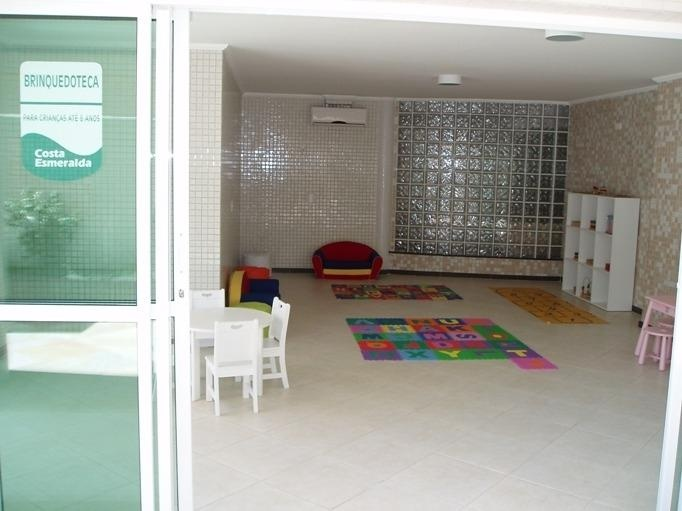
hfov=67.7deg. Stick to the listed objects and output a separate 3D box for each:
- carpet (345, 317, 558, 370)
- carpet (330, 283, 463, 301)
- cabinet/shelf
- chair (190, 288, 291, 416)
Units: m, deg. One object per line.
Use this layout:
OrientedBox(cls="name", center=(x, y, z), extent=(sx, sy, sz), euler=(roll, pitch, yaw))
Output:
OrientedBox(cls="carpet", center=(1.358, 1.169, 6.944), extent=(2.344, 0.013, 2.090), euler=(1, 10, -5))
OrientedBox(cls="carpet", center=(1.030, 0.686, 9.719), extent=(2.310, 0.016, 1.352), euler=(1, 10, -4))
OrientedBox(cls="cabinet/shelf", center=(4.595, -0.062, 8.898), extent=(0.658, 1.908, 2.220), euler=(2, 8, 0))
OrientedBox(cls="chair", center=(-1.003, 0.963, 5.081), extent=(0.950, 0.951, 1.013), euler=(2, 11, -1))
